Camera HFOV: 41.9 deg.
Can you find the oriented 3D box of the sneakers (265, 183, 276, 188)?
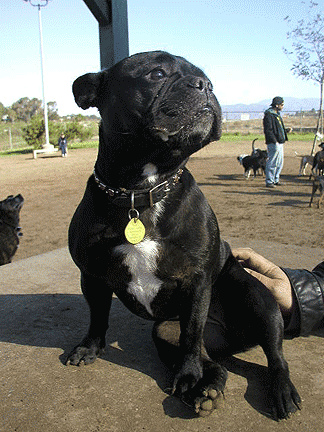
[{"bbox_3d":[2.699,-0.774,10.582,0.221,0.122,0.088,0,14,11],"label":"sneakers"}]

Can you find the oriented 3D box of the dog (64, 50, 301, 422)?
[{"bbox_3d":[0.044,0.054,1.987,1.224,1.542,0.623,3,12,15],"label":"dog"}]

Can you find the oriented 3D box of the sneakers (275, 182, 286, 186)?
[{"bbox_3d":[3.016,-0.822,10.728,0.364,0.112,0.108,-1,12,-9],"label":"sneakers"}]
